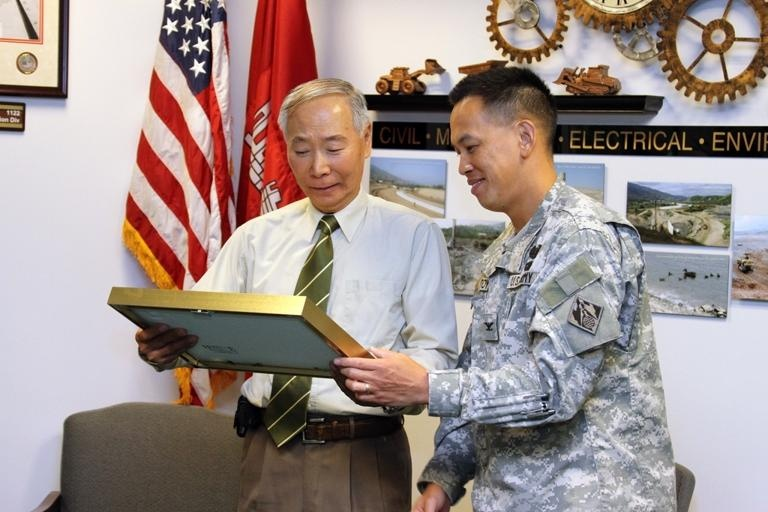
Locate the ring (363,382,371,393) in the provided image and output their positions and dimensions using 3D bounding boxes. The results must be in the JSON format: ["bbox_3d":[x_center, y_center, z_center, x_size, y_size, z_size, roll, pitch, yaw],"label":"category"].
[{"bbox_3d":[-0.057,0.441,2.502,0.023,0.030,0.005,1,5,22],"label":"ring"}]
